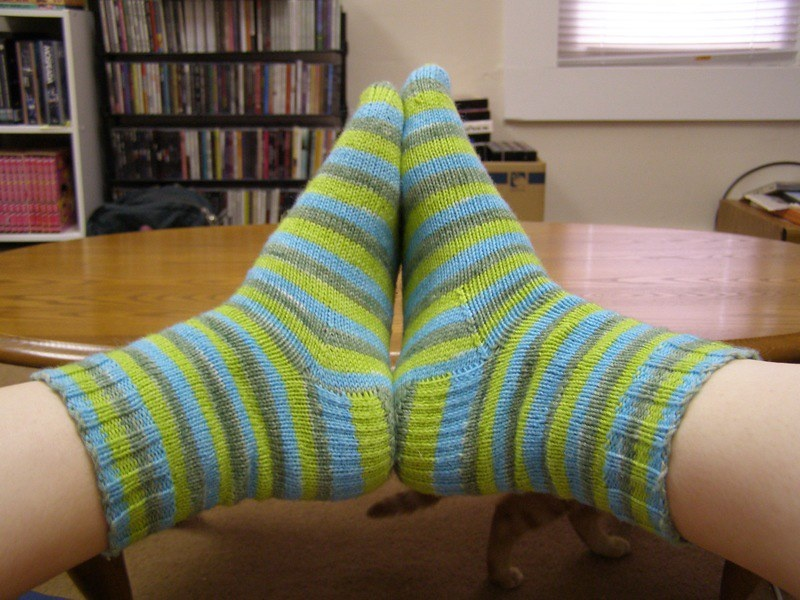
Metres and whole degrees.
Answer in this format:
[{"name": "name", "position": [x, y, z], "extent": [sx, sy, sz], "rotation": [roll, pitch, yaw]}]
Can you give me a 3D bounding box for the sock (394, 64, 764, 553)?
[{"name": "sock", "position": [0.118, -0.031, 0.812], "extent": [0.276, 0.439, 0.658], "rotation": [-2, 14, -9]}]
